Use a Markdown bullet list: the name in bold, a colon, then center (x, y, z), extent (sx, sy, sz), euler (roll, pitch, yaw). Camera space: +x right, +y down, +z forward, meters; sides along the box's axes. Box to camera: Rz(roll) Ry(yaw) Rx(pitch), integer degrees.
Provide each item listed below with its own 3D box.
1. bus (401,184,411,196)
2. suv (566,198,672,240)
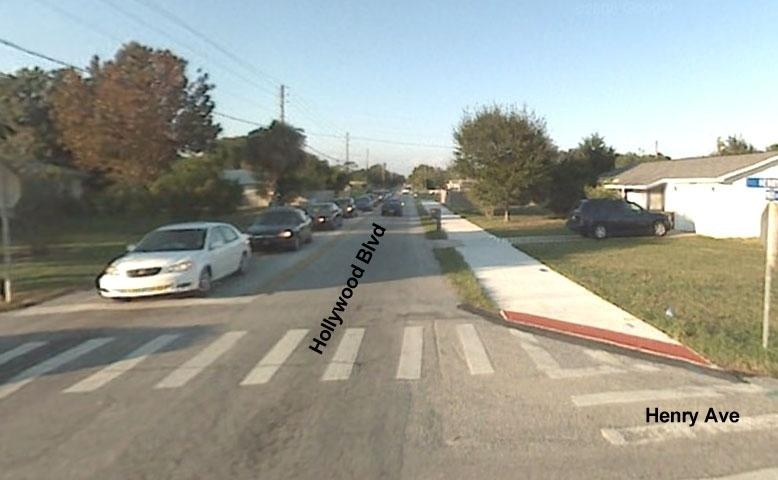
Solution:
- **bus**: center (4.332, -12.961, 136.248), extent (2.091, 1.983, 8.109), euler (0, 5, 2)
- **suv**: center (11.836, -1.216, 28.118), extent (4.476, 1.814, 2.123), euler (-3, 10, -4)
